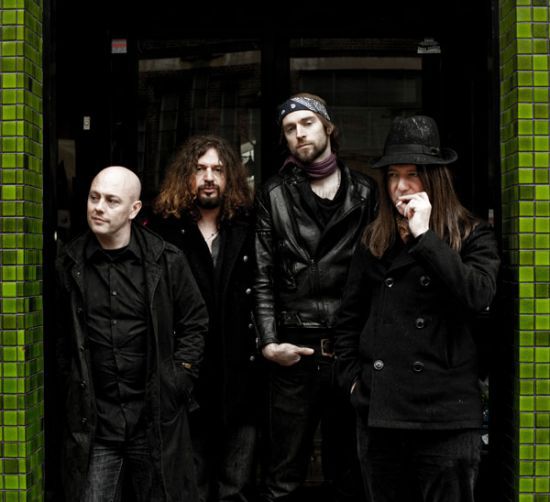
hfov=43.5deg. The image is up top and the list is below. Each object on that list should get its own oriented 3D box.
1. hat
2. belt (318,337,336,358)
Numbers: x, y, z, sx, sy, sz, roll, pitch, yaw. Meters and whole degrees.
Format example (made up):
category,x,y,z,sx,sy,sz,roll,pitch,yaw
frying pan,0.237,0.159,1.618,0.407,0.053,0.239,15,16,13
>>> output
category,x,y,z,sx,sy,sz,roll,pitch,yaw
hat,0.695,-0.528,3.500,0.323,0.175,0.307,2,7,16
belt,0.302,0.555,3.941,0.106,0.115,0.075,-1,0,15
